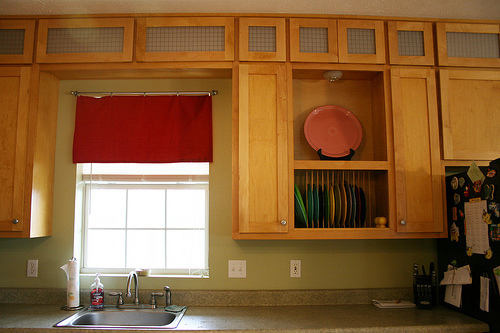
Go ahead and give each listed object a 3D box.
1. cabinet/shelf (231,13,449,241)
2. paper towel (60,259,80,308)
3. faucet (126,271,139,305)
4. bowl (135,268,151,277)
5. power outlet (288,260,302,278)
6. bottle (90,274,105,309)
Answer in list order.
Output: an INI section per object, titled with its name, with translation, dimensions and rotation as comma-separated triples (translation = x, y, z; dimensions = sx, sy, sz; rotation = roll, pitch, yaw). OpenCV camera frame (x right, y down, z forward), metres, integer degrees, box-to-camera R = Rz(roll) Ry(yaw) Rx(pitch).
[cabinet/shelf]
translation = 0.750, -0.330, 4.141
dimensions = 2.040, 2.010, 0.605
rotation = 0, -11, 0
[paper towel]
translation = -1.513, 0.980, 4.206
dimensions = 0.162, 0.417, 0.109
rotation = 3, -11, -25
[faucet]
translation = -0.994, 1.023, 4.207
dimensions = 0.109, 0.277, 0.202
rotation = 1, -10, -12
[bowl]
translation = -0.930, 0.917, 4.302
dimensions = 0.131, 0.063, 0.063
rotation = 2, -10, -23
[power outlet]
translation = 0.391, 0.882, 4.325
dimensions = 0.099, 0.156, 0.026
rotation = -1, -10, -6
[bottle]
translation = -1.285, 1.051, 4.200
dimensions = 0.105, 0.286, 0.065
rotation = 1, -10, -17
